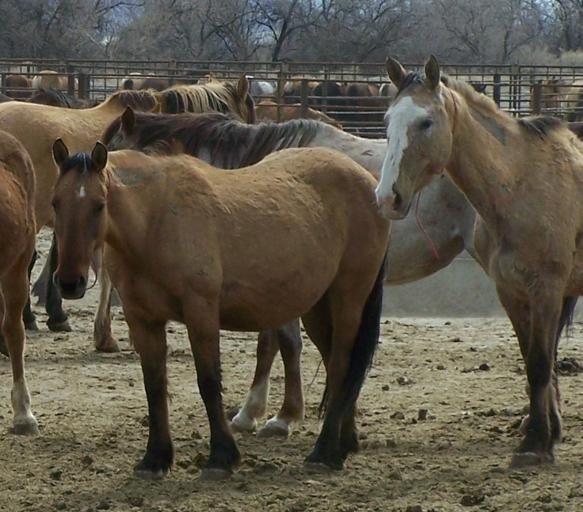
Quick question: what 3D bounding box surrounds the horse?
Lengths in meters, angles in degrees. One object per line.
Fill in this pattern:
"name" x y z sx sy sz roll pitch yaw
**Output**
"horse" 0.192 -0.082 7.276 3.395 2.429 2.053 -5 12 -30
